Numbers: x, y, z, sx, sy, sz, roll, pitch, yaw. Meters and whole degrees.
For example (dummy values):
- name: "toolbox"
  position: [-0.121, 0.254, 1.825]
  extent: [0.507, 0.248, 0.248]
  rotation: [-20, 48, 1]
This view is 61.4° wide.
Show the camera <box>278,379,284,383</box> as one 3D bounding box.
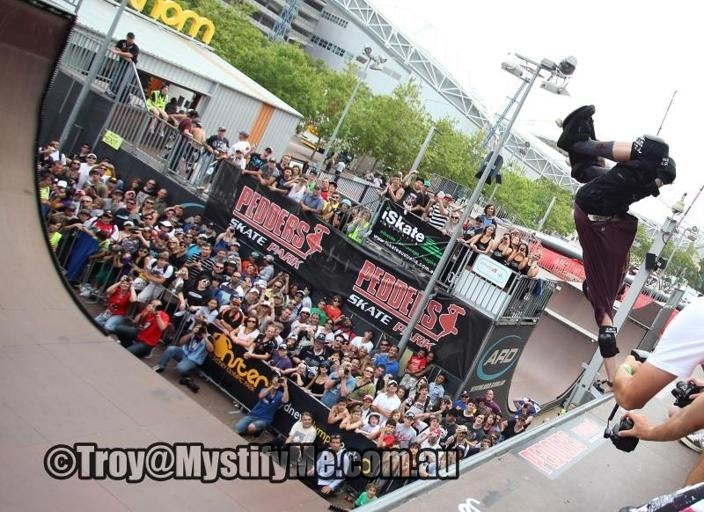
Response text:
- name: "camera"
  position: [-1.498, 2.625, 12.646]
  extent: [0.084, 0.087, 0.022]
  rotation: [6, -5, -2]

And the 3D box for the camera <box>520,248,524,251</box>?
- name: "camera"
  position: [4.375, -0.182, 15.430]
  extent: [0.048, 0.072, 0.036]
  rotation: [5, 14, 1]

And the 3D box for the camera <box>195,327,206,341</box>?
- name: "camera"
  position: [-3.400, 1.727, 13.410]
  extent: [0.222, 0.108, 0.233]
  rotation: [-18, -11, -7]

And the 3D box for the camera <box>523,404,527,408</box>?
- name: "camera"
  position: [4.181, 3.596, 14.404]
  extent: [0.083, 0.052, 0.089]
  rotation: [-4, 8, -11]

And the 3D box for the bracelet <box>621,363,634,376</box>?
- name: "bracelet"
  position: [2.698, 1.100, 5.853]
  extent: [0.089, 0.075, 0.095]
  rotation: [-10, 19, -23]

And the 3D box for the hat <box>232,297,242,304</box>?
- name: "hat"
  position: [-2.690, 1.011, 13.818]
  extent: [0.162, 0.162, 0.202]
  rotation: [9, -13, -15]

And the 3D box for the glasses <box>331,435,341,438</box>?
- name: "glasses"
  position: [-0.310, 3.476, 11.513]
  extent: [0.144, 0.062, 0.130]
  rotation: [11, -4, -22]

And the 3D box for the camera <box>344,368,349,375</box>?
- name: "camera"
  position: [-0.116, 2.436, 12.707]
  extent: [0.103, 0.114, 0.102]
  rotation: [-8, -23, -11]

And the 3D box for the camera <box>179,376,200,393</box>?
- name: "camera"
  position: [-3.568, 2.844, 13.179]
  extent: [0.409, 0.176, 0.249]
  rotation: [33, 48, 19]

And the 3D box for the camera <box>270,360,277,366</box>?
- name: "camera"
  position: [-1.763, 2.331, 13.181]
  extent: [0.137, 0.116, 0.109]
  rotation: [14, 10, 28]
